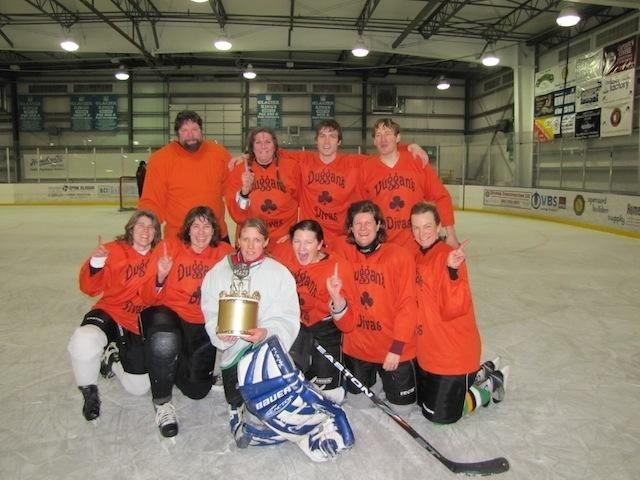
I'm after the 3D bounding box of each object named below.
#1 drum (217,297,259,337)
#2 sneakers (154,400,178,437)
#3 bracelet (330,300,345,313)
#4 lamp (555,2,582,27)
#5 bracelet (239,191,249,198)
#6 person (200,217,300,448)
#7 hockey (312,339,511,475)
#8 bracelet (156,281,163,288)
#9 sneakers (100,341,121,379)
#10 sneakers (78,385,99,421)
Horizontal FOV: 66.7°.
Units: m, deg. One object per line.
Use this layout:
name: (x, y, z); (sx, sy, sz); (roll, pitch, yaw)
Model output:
drum: (-0.604, 0.552, 3.546); (0.299, 0.293, 0.154); (-3, 14, -9)
sneakers: (-1.235, 1.441, 3.889); (0.119, 0.130, 0.309); (-2, 2, -23)
bracelet: (0.154, 0.558, 4.076); (0.142, 0.133, 0.077); (0, 14, 0)
lamp: (5.698, -5.165, 11.075); (0.403, 0.558, 1.114); (7, 16, 28)
bracelet: (-0.782, -0.466, 5.009); (0.055, 0.045, 0.074); (10, -7, -19)
person: (-0.534, 0.697, 3.841); (0.789, 1.621, 0.787); (-4, 14, -13)
hockey: (0.737, 1.361, 3.894); (0.254, 0.154, 1.725); (31, 2, -35)
bracelet: (-1.389, 0.388, 4.188); (0.039, 0.044, 0.054); (-1, 1, 0)
sneakers: (-1.953, 1.125, 4.610); (0.223, 0.403, 0.119); (12, 12, 14)
sneakers: (-1.902, 1.322, 4.020); (0.144, 0.289, 0.234); (-8, 16, -28)
